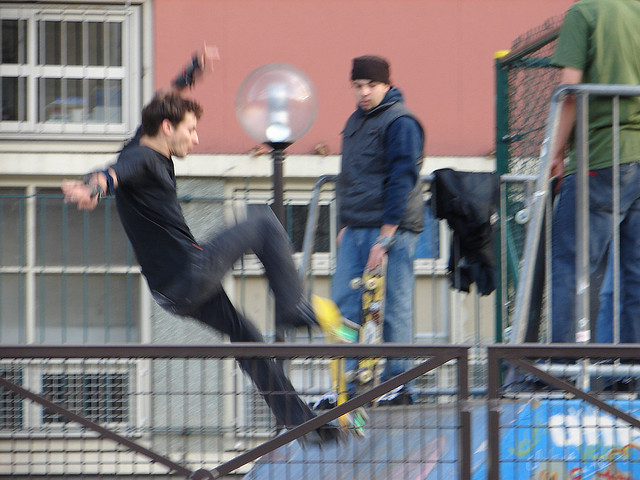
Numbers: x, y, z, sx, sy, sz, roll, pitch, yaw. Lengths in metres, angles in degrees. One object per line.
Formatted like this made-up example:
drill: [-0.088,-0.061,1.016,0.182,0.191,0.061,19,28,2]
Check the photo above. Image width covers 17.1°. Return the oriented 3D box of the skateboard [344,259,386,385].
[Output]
skateboard: [0.313,0.639,15.655,0.258,0.864,0.142,5,-4,23]
